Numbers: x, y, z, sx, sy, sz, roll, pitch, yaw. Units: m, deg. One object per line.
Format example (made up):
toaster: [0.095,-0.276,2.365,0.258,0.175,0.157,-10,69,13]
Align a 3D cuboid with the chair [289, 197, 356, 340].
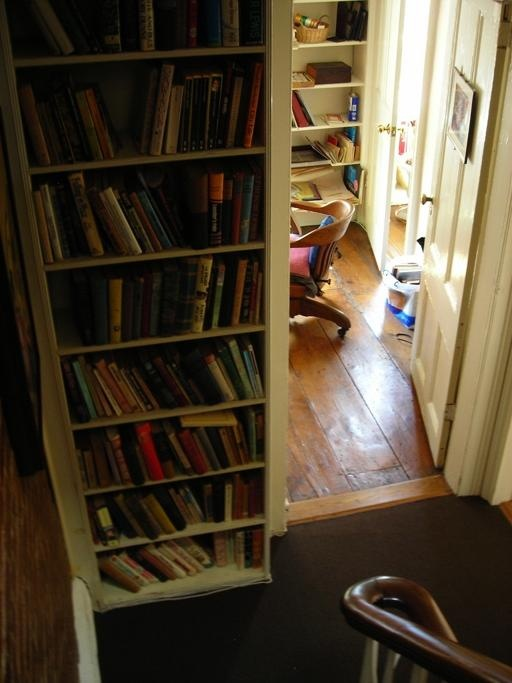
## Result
chair: [0.470,-0.527,3.940,0.467,0.906,0.645,2,25,3]

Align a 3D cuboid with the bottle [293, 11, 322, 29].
bottle: [0.425,-2.691,4.623,0.262,0.120,0.141,17,30,30]
